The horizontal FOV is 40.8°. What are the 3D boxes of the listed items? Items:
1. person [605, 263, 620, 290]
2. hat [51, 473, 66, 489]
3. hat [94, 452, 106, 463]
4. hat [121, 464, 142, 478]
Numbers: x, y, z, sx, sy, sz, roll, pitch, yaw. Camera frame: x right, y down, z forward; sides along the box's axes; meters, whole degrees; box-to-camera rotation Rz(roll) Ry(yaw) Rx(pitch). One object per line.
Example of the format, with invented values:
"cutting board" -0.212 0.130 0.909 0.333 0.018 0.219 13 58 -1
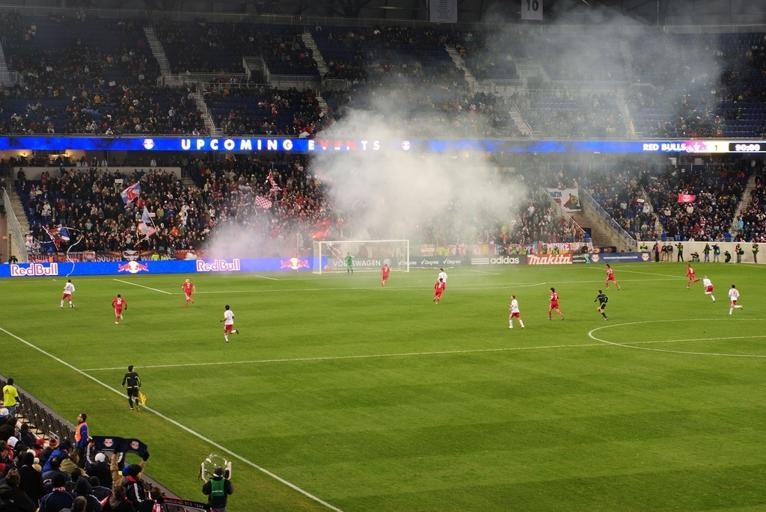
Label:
"person" 15.989 1.463 71.507 1.428 2.131 0.945 2 -24 7
"hat" -10.185 7.051 32.264 0.437 0.398 0.729 -4 8 -20
"hat" -9.326 6.624 33.811 0.296 0.229 0.292 1 4 4
"hat" -8.206 6.940 33.563 0.518 0.460 0.379 -12 18 -34
